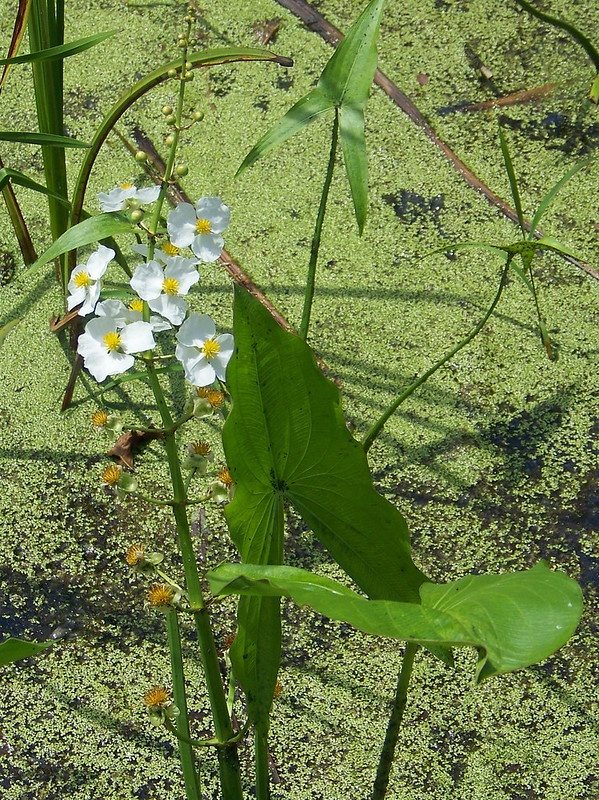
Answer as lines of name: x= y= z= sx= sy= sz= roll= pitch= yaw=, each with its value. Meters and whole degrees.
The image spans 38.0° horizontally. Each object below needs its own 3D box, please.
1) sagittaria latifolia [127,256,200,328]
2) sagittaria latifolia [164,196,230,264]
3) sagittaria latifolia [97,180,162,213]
sagittaria latifolia: x=-0.125 y=-0.094 z=0.804 sx=0.070 sy=0.062 sz=0.029 roll=-19 pitch=3 yaw=-32
sagittaria latifolia: x=-0.099 y=-0.167 z=0.840 sx=0.057 sy=0.060 sz=0.066 roll=4 pitch=22 yaw=-9
sagittaria latifolia: x=-0.170 y=-0.201 z=0.864 sx=0.057 sy=0.032 sz=0.092 roll=1 pitch=21 yaw=-14
